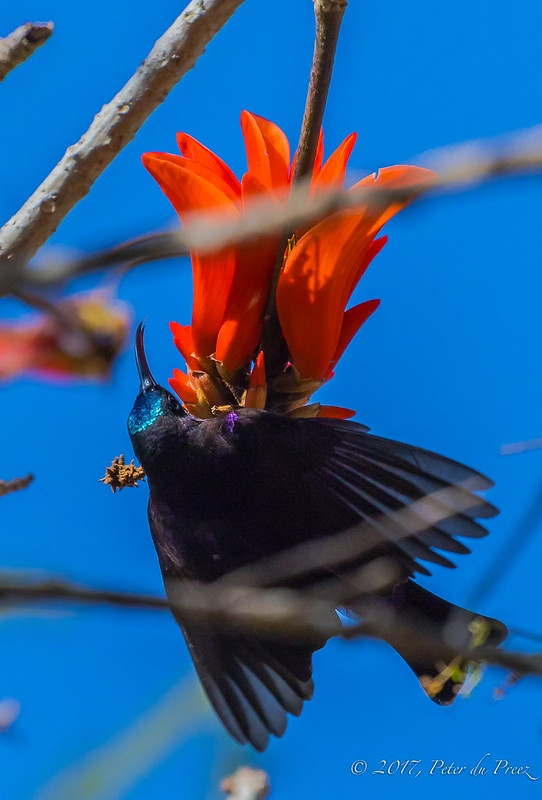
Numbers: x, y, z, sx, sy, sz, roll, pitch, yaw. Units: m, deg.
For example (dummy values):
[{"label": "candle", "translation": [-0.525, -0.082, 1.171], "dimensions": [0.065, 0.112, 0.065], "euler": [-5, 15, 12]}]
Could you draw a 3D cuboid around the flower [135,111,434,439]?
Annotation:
[{"label": "flower", "translation": [0.004, -0.073, 0.623], "dimensions": [0.179, 0.150, 0.155], "euler": [4, 98, 10]}]

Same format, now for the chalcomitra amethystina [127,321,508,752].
[{"label": "chalcomitra amethystina", "translation": [-0.005, 0.061, 0.597], "dimensions": [0.219, 0.228, 0.172], "euler": [4, 106, 33]}]
